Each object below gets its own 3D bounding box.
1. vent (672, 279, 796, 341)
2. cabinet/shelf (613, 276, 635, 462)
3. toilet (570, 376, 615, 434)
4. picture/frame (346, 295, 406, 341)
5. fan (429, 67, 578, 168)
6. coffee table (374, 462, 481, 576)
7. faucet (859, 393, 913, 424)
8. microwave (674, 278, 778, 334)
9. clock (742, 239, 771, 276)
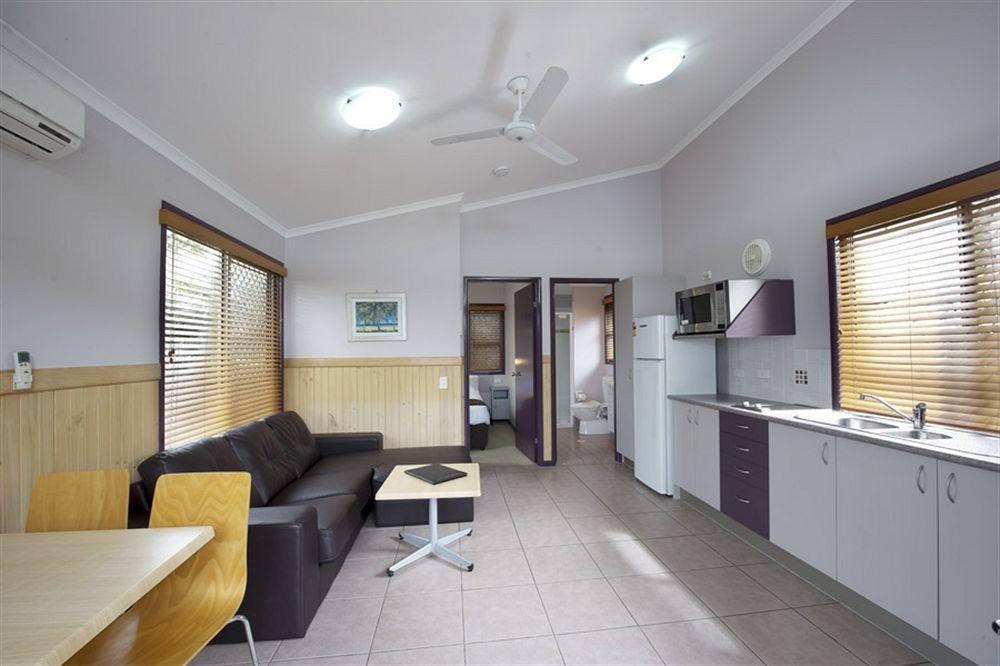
[{"bbox_3d":[2.099,-0.191,5.398,0.500,0.370,0.745,2,-5,-11],"label":"vent"},{"bbox_3d":[1.404,0.417,6.997,0.187,1.947,0.560,-3,-1,-4],"label":"cabinet/shelf"},{"bbox_3d":[1.397,1.061,9.086,0.663,0.772,0.532,-4,-7,16],"label":"toilet"},{"bbox_3d":[-1.344,-0.161,6.603,0.478,0.415,0.049,0,-2,-12],"label":"picture/frame"},{"bbox_3d":[0.189,-1.610,4.429,0.718,0.355,0.764,4,-19,-10],"label":"fan"},{"bbox_3d":[-0.550,1.405,4.952,0.744,0.686,0.753,0,-3,-5],"label":"coffee table"},{"bbox_3d":[2.769,0.533,4.488,0.281,0.228,0.436,-2,-2,-37],"label":"faucet"},{"bbox_3d":[1.973,-0.099,5.456,0.434,0.373,0.758,1,-2,-5],"label":"microwave"},{"bbox_3d":[2.223,-0.649,5.400,0.092,0.289,0.284,7,0,-33],"label":"clock"}]
